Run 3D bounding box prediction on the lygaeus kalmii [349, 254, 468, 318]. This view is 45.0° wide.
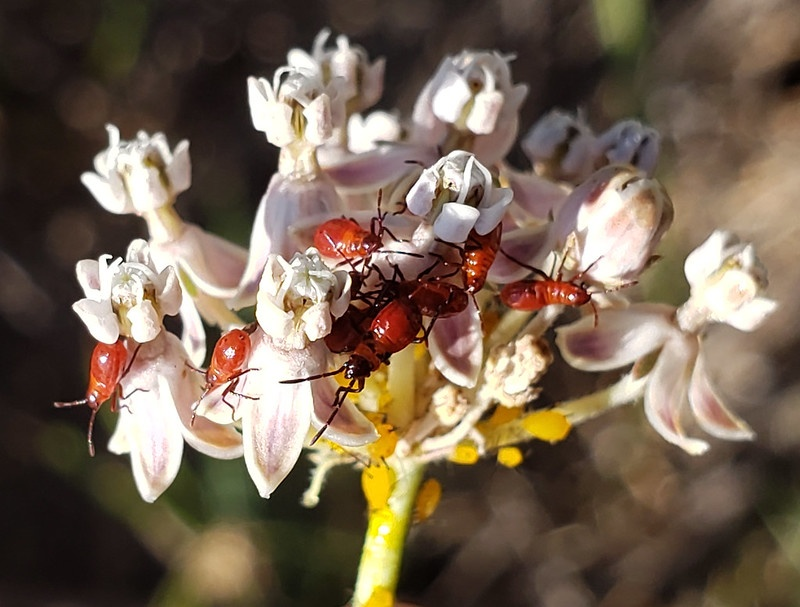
[{"bbox_3d":[0.015,-0.007,0.997,0.092,0.076,0.029,2,7,-8],"label":"lygaeus kalmii"}]

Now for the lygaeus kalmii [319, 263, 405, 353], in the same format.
[{"bbox_3d":[-0.037,0.010,1.058,0.059,0.102,0.053,30,-12,42],"label":"lygaeus kalmii"}]

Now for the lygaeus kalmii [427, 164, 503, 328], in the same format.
[{"bbox_3d":[0.068,-0.034,1.027,0.028,0.102,0.071,12,-3,40],"label":"lygaeus kalmii"}]

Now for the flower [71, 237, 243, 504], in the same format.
[{"bbox_3d":[-0.280,0.060,1.055,0.153,0.292,0.161,-7,-9,21],"label":"flower"}]

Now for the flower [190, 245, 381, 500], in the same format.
[{"bbox_3d":[-0.126,0.068,1.031,0.169,0.266,0.089,5,2,1],"label":"flower"}]

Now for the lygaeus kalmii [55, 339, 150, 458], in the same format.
[{"bbox_3d":[-0.306,0.083,1.050,0.103,0.143,0.039,35,29,29],"label":"lygaeus kalmii"}]

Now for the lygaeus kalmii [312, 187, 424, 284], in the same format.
[{"bbox_3d":[-0.036,-0.067,1.033,0.097,0.030,0.099,9,-9,-2],"label":"lygaeus kalmii"}]

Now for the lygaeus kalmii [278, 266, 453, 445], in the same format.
[{"bbox_3d":[-0.030,0.040,0.964,0.125,0.204,0.049,47,-19,8],"label":"lygaeus kalmii"}]
